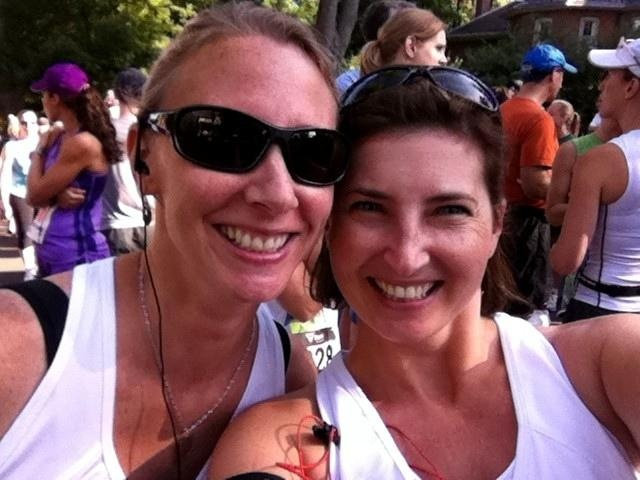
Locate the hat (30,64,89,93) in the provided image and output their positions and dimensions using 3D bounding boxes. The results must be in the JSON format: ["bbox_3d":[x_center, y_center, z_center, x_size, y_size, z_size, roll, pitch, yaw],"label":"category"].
[{"bbox_3d":[-2.046,-1.272,4.604,0.348,0.207,0.278,15,28,-4],"label":"hat"}]

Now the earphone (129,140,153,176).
[{"bbox_3d":[-0.771,-0.349,2.522,0.030,0.141,0.091,1,8,0],"label":"earphone"}]
